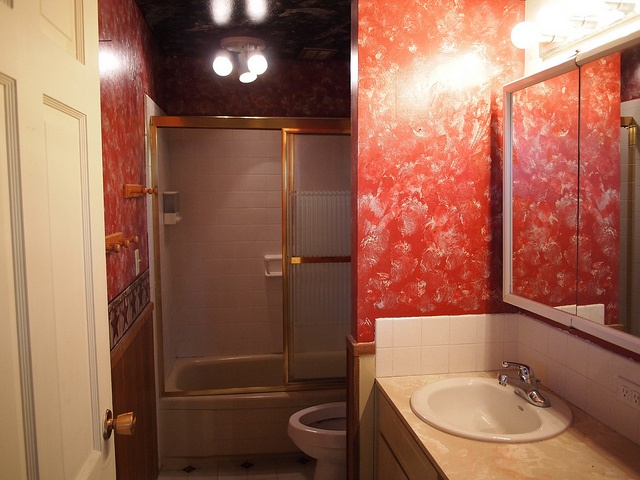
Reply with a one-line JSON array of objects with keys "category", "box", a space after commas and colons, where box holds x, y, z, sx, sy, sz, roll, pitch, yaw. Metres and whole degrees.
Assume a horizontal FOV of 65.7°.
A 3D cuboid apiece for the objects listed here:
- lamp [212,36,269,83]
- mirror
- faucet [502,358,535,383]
[{"category": "lamp", "box": [-0.511, -1.192, 3.349, 0.331, 0.257, 0.491, -3, 5, -1]}, {"category": "mirror", "box": [0.937, -0.176, 1.892, 0.085, 1.040, 0.665, -4, 5, -17]}, {"category": "faucet", "box": [0.814, 0.528, 2.017, 0.113, 0.102, 0.156, -1, 6, 24]}]
